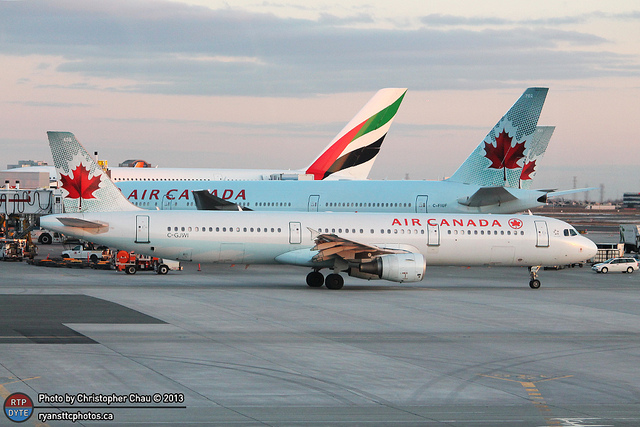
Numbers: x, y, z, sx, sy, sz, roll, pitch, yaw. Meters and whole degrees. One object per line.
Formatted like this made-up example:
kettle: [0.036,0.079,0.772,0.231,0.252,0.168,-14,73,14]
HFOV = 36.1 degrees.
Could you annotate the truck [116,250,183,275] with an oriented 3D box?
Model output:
truck: [-9.357,2.963,59.422,5.570,1.380,1.575,-1,3,-11]

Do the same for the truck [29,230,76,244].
truck: [-21.102,1.925,77.829,5.343,0.979,2.798,0,0,-4]

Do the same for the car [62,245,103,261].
car: [-15.332,2.563,63.774,2.523,0.573,1.009,2,-2,-3]

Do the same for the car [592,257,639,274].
car: [20.235,3.563,66.797,3.394,0.669,1.093,1,-1,-4]

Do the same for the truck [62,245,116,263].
truck: [-14.908,2.653,63.384,3.000,0.642,1.274,1,0,4]
